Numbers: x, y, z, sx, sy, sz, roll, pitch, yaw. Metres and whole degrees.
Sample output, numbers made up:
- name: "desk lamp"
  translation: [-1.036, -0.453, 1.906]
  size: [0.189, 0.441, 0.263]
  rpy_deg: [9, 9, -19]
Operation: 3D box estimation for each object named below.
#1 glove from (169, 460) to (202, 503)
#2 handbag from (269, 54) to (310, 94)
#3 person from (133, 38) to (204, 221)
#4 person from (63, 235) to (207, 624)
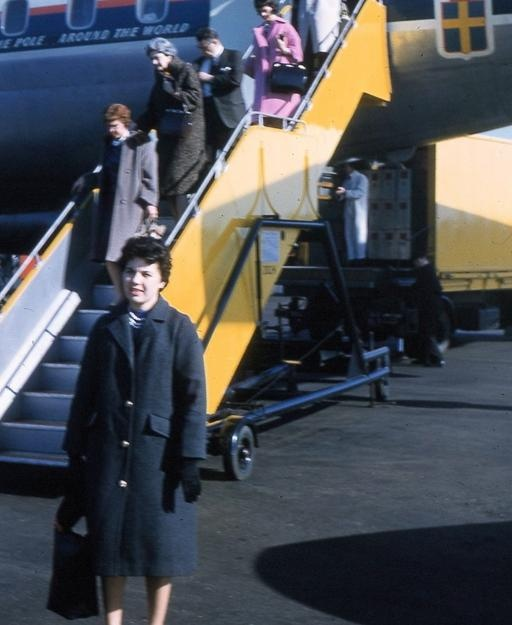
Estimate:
- name: "glove"
  translation: [-0.303, 0.744, 4.853]
  size: [0.116, 0.207, 0.116]
  rpy_deg: [-2, 6, -15]
- name: "handbag"
  translation: [0.289, -2.058, 9.980]
  size: [0.487, 0.291, 0.256]
  rpy_deg: [0, -3, -20]
- name: "person"
  translation: [-0.650, -1.390, 8.816]
  size: [0.642, 1.432, 0.563]
  rpy_deg: [2, -2, -36]
- name: "person"
  translation: [-0.566, 0.414, 4.955]
  size: [0.667, 1.466, 0.435]
  rpy_deg: [-1, 6, -4]
